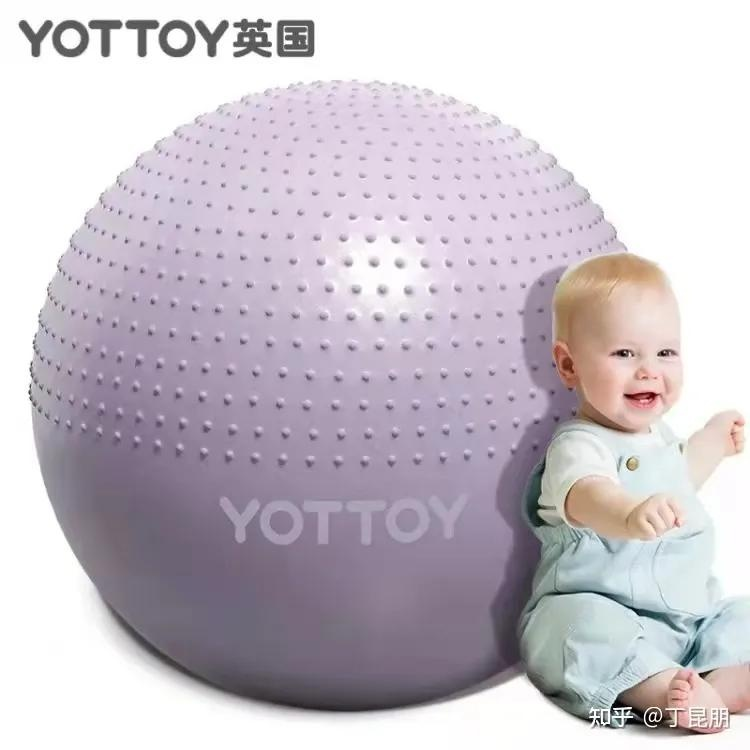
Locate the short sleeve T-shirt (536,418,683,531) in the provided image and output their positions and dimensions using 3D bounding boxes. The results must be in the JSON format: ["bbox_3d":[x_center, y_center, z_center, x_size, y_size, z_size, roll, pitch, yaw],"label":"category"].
[{"bbox_3d":[0.510,0.247,1.810,0.237,0.143,0.232,-9,19,-40],"label":"short sleeve T-shirt"}]
